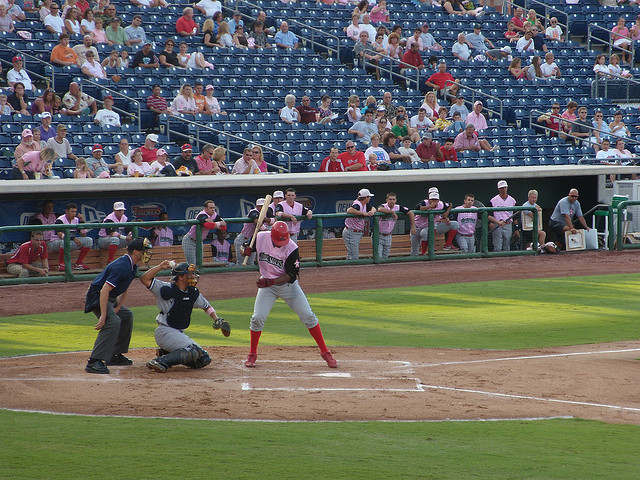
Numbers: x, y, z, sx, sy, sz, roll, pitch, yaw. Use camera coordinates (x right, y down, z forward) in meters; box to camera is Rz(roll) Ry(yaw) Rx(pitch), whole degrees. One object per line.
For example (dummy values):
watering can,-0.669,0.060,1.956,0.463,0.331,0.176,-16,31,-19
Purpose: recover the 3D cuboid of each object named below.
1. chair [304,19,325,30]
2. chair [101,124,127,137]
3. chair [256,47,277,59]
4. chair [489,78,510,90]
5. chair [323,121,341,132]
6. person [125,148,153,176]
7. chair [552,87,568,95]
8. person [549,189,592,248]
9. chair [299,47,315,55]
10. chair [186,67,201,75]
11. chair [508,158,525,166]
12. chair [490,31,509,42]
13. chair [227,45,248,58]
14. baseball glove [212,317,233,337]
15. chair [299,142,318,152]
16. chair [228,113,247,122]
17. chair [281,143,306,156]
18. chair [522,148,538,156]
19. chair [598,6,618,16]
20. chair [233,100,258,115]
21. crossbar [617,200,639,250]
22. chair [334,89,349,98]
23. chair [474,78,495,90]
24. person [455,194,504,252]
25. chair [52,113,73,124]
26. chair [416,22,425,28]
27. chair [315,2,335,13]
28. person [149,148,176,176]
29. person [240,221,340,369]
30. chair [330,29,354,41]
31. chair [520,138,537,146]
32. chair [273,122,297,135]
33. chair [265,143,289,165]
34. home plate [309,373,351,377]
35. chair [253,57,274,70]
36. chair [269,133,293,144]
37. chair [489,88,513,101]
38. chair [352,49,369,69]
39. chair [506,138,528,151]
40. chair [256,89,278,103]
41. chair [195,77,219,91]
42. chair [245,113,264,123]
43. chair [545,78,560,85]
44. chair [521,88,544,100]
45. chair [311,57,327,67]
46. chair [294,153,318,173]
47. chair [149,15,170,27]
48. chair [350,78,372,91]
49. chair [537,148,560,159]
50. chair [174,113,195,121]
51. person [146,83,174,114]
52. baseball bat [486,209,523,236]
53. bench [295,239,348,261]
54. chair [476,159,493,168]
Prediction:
chair,-0.195,-6.243,38.768,0.555,0.174,0.390,12,-1,-26
chair,-4.954,-2.591,31.973,0.531,0.335,0.320,0,-2,-40
chair,-1.496,-5.116,36.607,0.450,0.454,0.443,-2,4,-28
chair,5.110,-4.441,38.326,0.421,0.195,0.452,1,11,-16
chair,0.296,-2.925,34.376,0.480,0.230,0.185,0,-2,-37
person,-4.139,-1.735,30.425,0.591,0.613,0.634,-1,-1,-12
chair,6.939,-4.285,38.721,0.330,0.172,0.286,2,18,5
person,6.197,-0.506,33.185,0.902,1.392,0.826,-2,-1,39
chair,-0.382,-5.260,37.442,0.304,0.295,0.300,-2,1,-24
chair,-3.313,-4.361,34.701,0.291,0.110,0.330,0,6,-11
chair,5.164,-2.043,35.154,0.528,0.195,0.108,0,-2,-41
chair,5.477,-6.216,41.125,0.551,0.393,0.436,-1,-1,-19
chair,-2.284,-5.076,36.190,0.415,0.450,0.462,-3,4,-33
baseball glove,-1.665,1.473,22.769,0.211,0.447,0.160,-18,34,31
chair,-0.286,-2.321,33.629,0.481,0.238,0.182,0,-2,-35
chair,-2.133,-3.102,33.972,0.254,0.222,0.525,-2,-2,44
chair,-0.663,-2.263,33.462,0.443,0.339,0.424,2,-2,-37
chair,5.630,-2.329,35.638,0.501,0.217,0.199,0,-1,-28
chair,9.429,-7.478,43.768,0.481,0.227,0.407,1,6,3
chair,-1.923,-3.393,34.396,0.538,0.429,0.498,-1,-1,-19
crossbar,7.619,-0.344,33.327,0.495,0.778,0.487,-1,-1,-13
chair,0.557,-3.924,35.975,0.479,0.240,0.228,0,-2,-40
chair,4.666,-4.418,38.112,0.468,0.222,0.423,0,0,-23
person,3.644,-0.379,32.011,1.091,1.340,0.575,0,-2,-42
chair,-6.152,-2.843,31.711,0.305,0.398,0.331,-1,3,-29
chair,3.020,-6.428,40.179,0.231,0.231,0.493,-1,-1,1
chair,0.132,-6.865,39.711,0.556,0.392,0.503,-1,-1,-13
person,-3.603,-1.738,30.466,0.572,0.623,0.719,-1,-1,-8
person,-0.706,0.940,23.161,1.725,2.465,1.002,-2,-1,18
chair,0.562,-5.893,38.416,0.529,0.481,0.473,1,2,22
chair,5.642,-2.616,36.048,0.258,0.233,0.303,1,-1,-5
chair,-0.888,-2.827,34.033,0.434,0.393,0.394,0,0,35
chair,-1.080,-2.129,33.242,0.589,0.572,0.534,-1,-1,-1
home plate,0.175,2.280,22.586,0.646,0.054,0.212,-1,-1,3
chair,-1.553,-4.744,36.147,0.460,0.367,0.310,-1,-1,-31
chair,-1.016,-2.537,33.639,0.531,0.290,0.269,-1,-1,-2
chair,5.149,-4.107,37.894,0.543,0.404,0.516,-1,-1,-28
chair,1.138,-5.086,37.664,0.633,0.663,0.535,-1,20,-2
chair,5.270,-2.549,35.788,0.510,0.351,0.385,-1,-1,-26
chair,-1.408,-3.771,35.169,0.506,0.388,0.452,1,0,-30
chair,-2.983,-4.065,34.667,0.462,0.462,0.475,1,-4,-23
chair,-1.693,-3.131,34.225,0.502,0.207,0.163,-1,-1,-10
chair,6.791,-4.597,38.980,0.270,0.264,0.254,1,-1,-6
chair,6.034,-4.157,38.231,0.431,0.152,0.478,14,2,-4
chair,-0.050,-4.920,37.082,0.390,0.319,0.259,-5,23,-10
chair,-0.371,-1.910,33.137,0.490,0.478,0.410,0,-1,-39
chair,-4.396,-5.904,36.164,0.462,0.441,0.406,3,4,30
chair,1.118,-4.208,36.543,0.528,0.364,0.448,-2,-5,8
chair,6.107,-2.300,35.815,0.557,0.316,0.387,-1,-1,-6
chair,-3.385,-3.012,32.986,0.280,0.104,0.336,0,-1,-16
person,-3.982,-3.465,33.097,0.606,0.817,1.120,-1,-1,-7
baseball bat,4.416,-0.443,32.274,1.509,0.132,0.156,-20,46,-20
bench,0.050,0.219,30.904,1.735,0.415,0.629,0,-3,-30
chair,4.243,-1.959,34.472,0.421,0.230,0.596,-1,-1,6
